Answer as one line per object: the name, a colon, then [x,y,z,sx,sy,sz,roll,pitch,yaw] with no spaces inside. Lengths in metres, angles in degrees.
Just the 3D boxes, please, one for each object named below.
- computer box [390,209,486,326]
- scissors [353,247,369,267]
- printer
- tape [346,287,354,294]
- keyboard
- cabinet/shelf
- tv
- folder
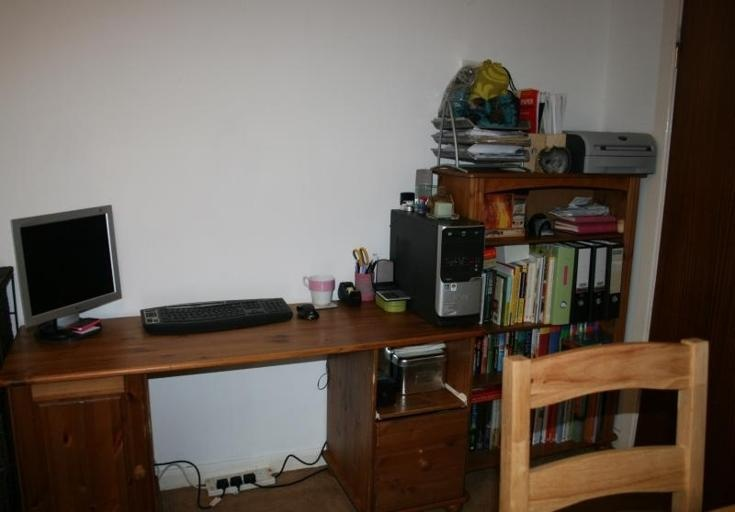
computer box: [0.310,0.021,2.898,0.402,0.556,0.349,-3,15,-18]
scissors: [-0.028,-0.001,3.110,0.077,0.099,0.027,-16,1,-20]
printer: [1.240,-0.562,3.135,0.401,0.237,0.319,1,12,-19]
tape: [-0.086,0.177,3.017,0.029,0.029,0.051,-3,1,0]
keyboard: [-0.706,0.274,2.802,0.694,0.094,0.244,-6,14,-28]
cabinet/shelf: [0.854,0.170,2.959,0.759,1.175,0.291,1,12,-22]
tv: [-1.296,0.025,2.556,0.087,0.463,0.417,-1,9,32]
folder: [1.086,0.036,3.242,0.567,0.552,0.406,-3,7,-20]
